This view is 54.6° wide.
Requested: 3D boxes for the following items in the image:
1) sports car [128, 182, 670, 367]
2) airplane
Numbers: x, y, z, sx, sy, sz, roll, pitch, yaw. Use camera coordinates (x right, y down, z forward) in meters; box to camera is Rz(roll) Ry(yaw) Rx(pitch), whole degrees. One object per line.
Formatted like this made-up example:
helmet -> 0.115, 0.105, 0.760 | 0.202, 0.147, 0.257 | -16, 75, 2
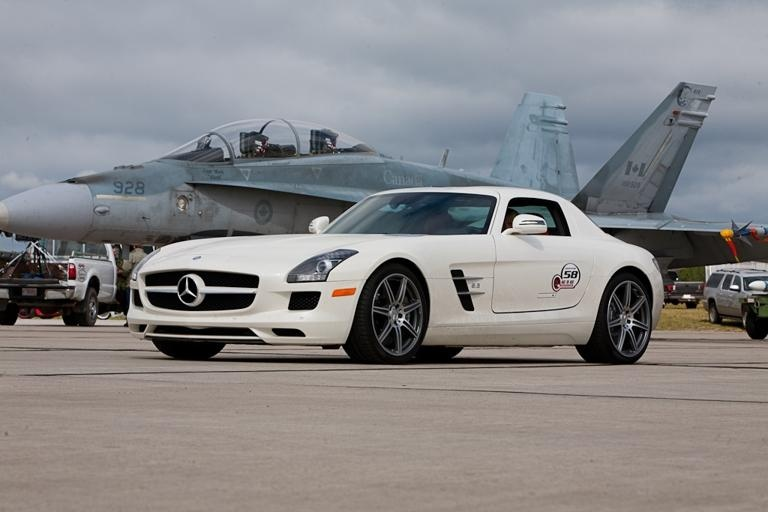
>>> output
sports car -> 0.302, 0.105, 7.514 | 4.969, 1.866, 1.263 | 4, -3, -22
airplane -> 0.481, -1.591, 18.232 | 15.438, 2.979, 10.922 | 0, 0, -27
